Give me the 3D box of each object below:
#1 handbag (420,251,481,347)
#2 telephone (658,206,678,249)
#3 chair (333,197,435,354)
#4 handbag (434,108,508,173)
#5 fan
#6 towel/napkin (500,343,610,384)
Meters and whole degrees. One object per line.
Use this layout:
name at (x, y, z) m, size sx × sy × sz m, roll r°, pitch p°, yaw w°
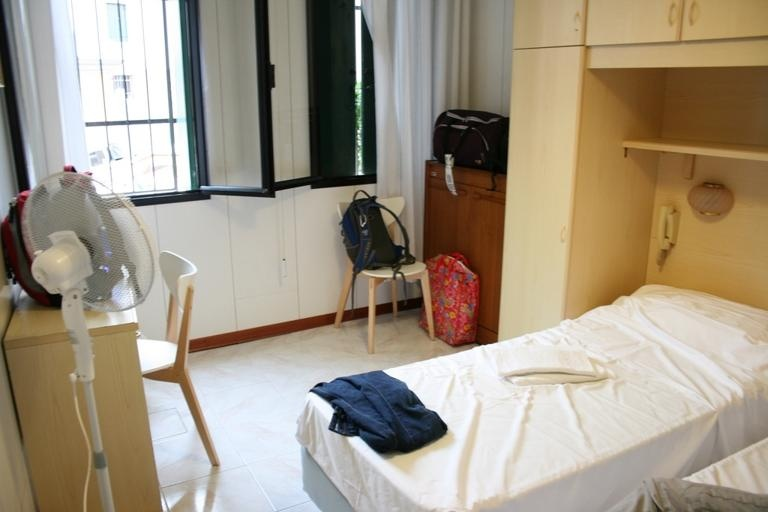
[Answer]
handbag at (0.540, 0.343, 4.339) m, size 0.244 × 0.705 × 0.551 m, roll -10°, pitch 19°, yaw -28°
telephone at (1.878, -0.183, 3.620) m, size 0.082 × 0.210 × 0.078 m, roll 5°, pitch -2°, yaw 39°
chair at (-0.014, 0.114, 4.467) m, size 0.719 × 1.081 × 0.732 m, roll -8°, pitch 17°, yaw -17°
handbag at (0.683, -0.905, 4.355) m, size 0.358 × 0.408 × 0.695 m, roll -16°, pitch 27°, yaw -36°
fan at (-1.231, 0.334, 2.451) m, size 0.431 × 1.401 × 0.540 m, roll -17°, pitch 23°, yaw -36°
towel/napkin at (0.892, 0.591, 3.005) m, size 0.304 × 0.063 × 0.277 m, roll -3°, pitch 13°, yaw -2°
